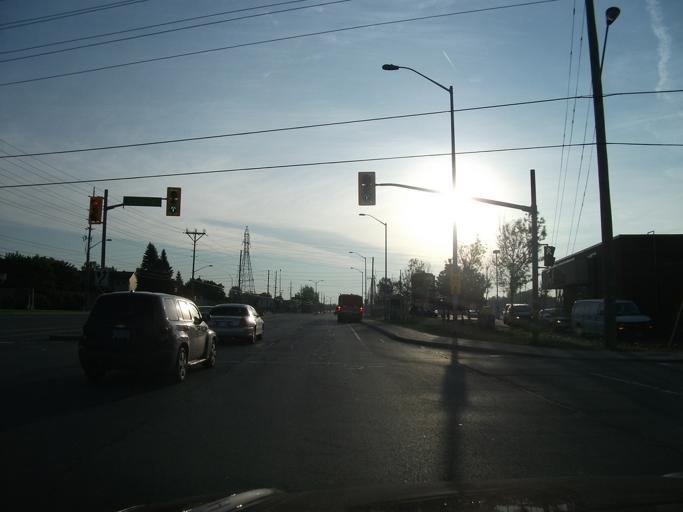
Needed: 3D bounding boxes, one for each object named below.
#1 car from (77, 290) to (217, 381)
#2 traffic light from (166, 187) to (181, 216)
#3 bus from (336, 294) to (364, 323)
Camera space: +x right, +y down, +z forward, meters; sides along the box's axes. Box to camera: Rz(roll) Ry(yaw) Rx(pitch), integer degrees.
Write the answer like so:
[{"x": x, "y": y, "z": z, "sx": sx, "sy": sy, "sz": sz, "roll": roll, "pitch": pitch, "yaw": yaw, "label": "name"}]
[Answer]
[{"x": -4.440, "y": 1.906, "z": 15.203, "sx": 1.740, "sy": 2.056, "sz": 3.086, "roll": -1, "pitch": -7, "yaw": 30, "label": "car"}, {"x": -7.516, "y": -2.413, "z": 28.300, "sx": 0.559, "sy": 1.242, "sz": 0.263, "roll": 2, "pitch": -5, "yaw": -7, "label": "traffic light"}, {"x": 0.674, "y": 5.058, "z": 60.290, "sx": 2.353, "sy": 2.771, "sz": 4.209, "roll": 1, "pitch": -2, "yaw": 2, "label": "bus"}]
